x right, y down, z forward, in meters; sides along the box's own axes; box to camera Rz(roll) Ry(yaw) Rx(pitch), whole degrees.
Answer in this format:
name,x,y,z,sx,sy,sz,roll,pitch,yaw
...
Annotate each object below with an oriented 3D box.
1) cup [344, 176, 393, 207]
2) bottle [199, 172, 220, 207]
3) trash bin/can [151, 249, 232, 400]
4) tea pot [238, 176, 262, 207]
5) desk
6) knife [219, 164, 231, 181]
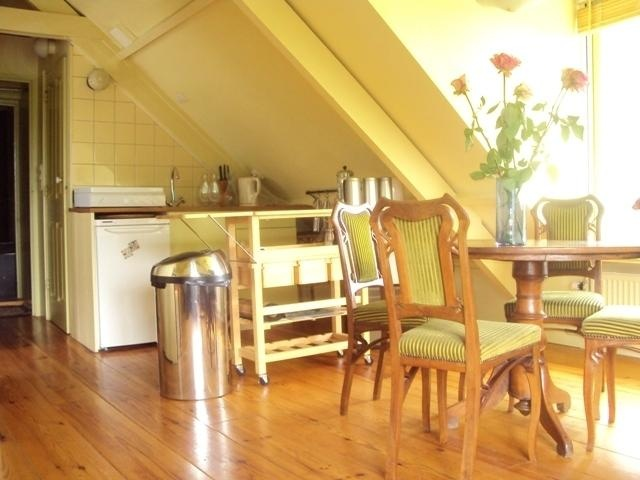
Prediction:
name,x,y,z,sx,sy,sz,roll,pitch,yaw
cup,0.323,-0.344,3.795,0.376,0.335,0.222,-1,5,-6
bottle,-0.922,-0.436,4.561,0.240,0.314,0.240,4,2,0
trash bin/can,-0.748,0.531,3.249,0.462,0.881,0.210,-3,5,-16
tea pot,-0.630,-0.457,4.904,0.202,0.272,0.349,-2,5,-9
desk,-0.358,0.405,3.558,1.226,0.997,0.422,-6,10,-37
knife,-0.945,-0.698,5.395,0.128,0.165,0.252,-2,4,-8
